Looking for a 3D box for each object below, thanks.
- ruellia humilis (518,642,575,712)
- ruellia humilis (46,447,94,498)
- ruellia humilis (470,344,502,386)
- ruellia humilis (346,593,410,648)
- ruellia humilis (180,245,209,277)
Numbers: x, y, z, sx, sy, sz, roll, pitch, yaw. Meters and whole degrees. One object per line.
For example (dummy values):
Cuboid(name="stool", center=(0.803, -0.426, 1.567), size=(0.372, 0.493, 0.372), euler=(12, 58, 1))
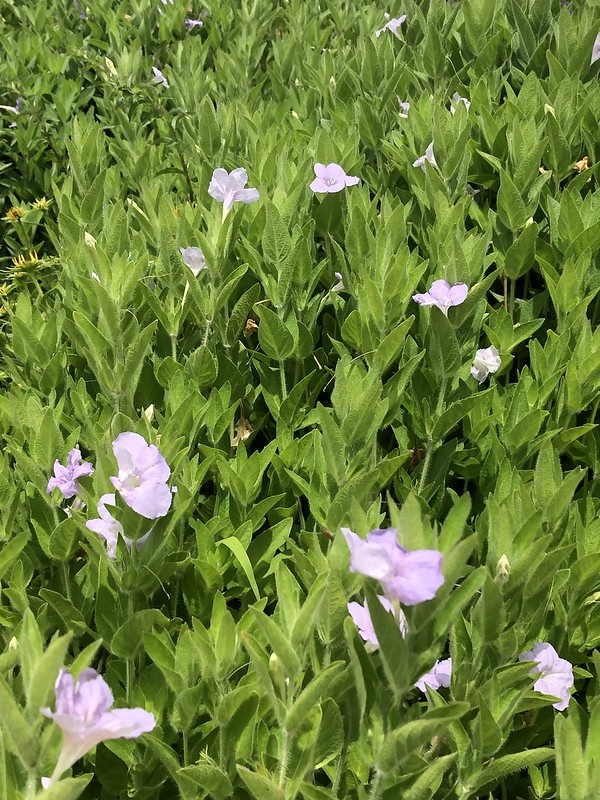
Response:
Cuboid(name="ruellia humilis", center=(0.404, 0.456, 1.415), size=(0.083, 0.047, 0.148), euler=(7, 3, 6))
Cuboid(name="ruellia humilis", center=(-0.427, 0.145, 1.614), size=(0.078, 0.040, 0.116), euler=(-6, 61, 26))
Cuboid(name="ruellia humilis", center=(0.430, -0.085, 2.017), size=(0.069, 0.026, 0.084), euler=(-179, 106, -73))
Cuboid(name="ruellia humilis", center=(0.107, 0.289, 1.160), size=(0.035, 0.077, 0.097), euler=(9, 81, 59))
Cuboid(name="ruellia humilis", center=(-0.257, -0.338, 2.070), size=(0.052, 0.069, 0.051), euler=(11, 52, -8))
